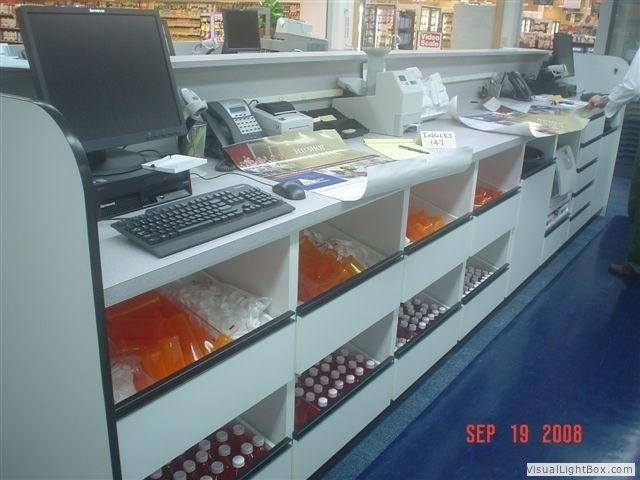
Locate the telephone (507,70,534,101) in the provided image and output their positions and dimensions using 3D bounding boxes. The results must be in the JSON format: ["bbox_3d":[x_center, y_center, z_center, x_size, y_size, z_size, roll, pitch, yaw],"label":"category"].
[{"bbox_3d":[1.648,-1.287,3.603,0.152,0.192,0.286,-7,27,-9],"label":"telephone"}]

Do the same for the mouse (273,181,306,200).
[{"bbox_3d":[-0.103,-0.173,1.376,0.054,0.034,0.097,-20,34,-40],"label":"mouse"}]

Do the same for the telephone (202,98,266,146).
[{"bbox_3d":[-0.324,-0.475,1.711,0.234,0.143,0.170,-17,30,-27],"label":"telephone"}]

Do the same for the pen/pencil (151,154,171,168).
[{"bbox_3d":[-0.470,-0.241,1.296,0.025,0.013,0.093,29,18,-6],"label":"pen/pencil"}]

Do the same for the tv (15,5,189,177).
[{"bbox_3d":[-0.601,-0.484,1.284,0.145,0.374,0.440,18,33,33],"label":"tv"}]

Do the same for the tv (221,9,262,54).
[{"bbox_3d":[-0.654,-1.731,3.573,0.321,0.311,0.283,-8,28,-11],"label":"tv"}]

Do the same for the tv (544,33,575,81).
[{"bbox_3d":[2.221,-1.701,3.980,0.192,0.390,0.433,20,34,35],"label":"tv"}]

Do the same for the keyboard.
[{"bbox_3d":[-0.305,-0.071,1.183,0.233,0.051,0.435,23,35,40],"label":"keyboard"}]

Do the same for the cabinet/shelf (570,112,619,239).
[{"bbox_3d":[2.200,-0.535,3.508,0.315,0.717,0.792,19,42,36],"label":"cabinet/shelf"}]
